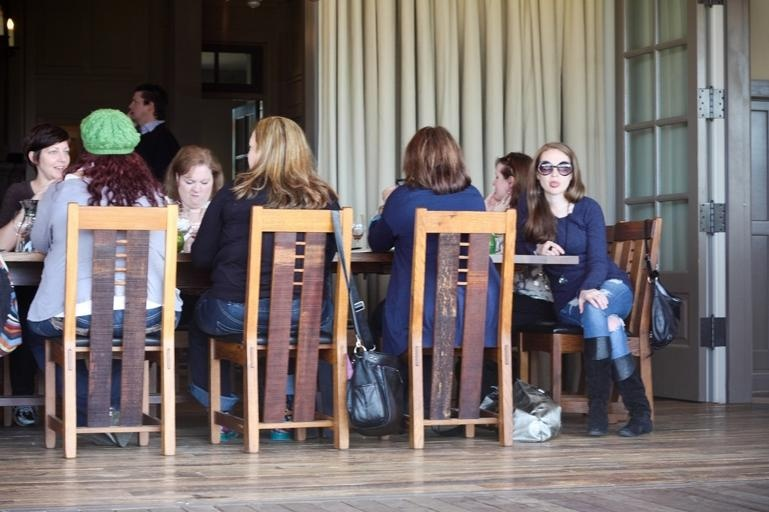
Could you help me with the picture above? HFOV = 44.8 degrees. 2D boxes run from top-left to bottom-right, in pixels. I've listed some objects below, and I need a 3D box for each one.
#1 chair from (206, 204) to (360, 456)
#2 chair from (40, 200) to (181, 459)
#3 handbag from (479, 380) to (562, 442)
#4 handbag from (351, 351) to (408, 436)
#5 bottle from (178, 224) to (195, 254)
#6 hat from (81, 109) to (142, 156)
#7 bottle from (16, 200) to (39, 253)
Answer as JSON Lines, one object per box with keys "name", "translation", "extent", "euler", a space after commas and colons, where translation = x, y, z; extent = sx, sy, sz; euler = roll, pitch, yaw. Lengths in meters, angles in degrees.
{"name": "chair", "translation": [-0.515, 0.359, 4.660], "extent": [0.706, 1.203, 0.388], "euler": [0, 3, -7]}
{"name": "chair", "translation": [-1.320, 0.354, 4.575], "extent": [0.626, 1.204, 0.492], "euler": [0, 3, -20]}
{"name": "handbag", "translation": [0.736, 0.810, 4.928], "extent": [0.322, 0.119, 0.326], "euler": [-1, 17, -32]}
{"name": "handbag", "translation": [-0.038, 0.670, 4.581], "extent": [0.276, 0.441, 0.145], "euler": [0, 2, -3]}
{"name": "bottle", "translation": [-1.020, -0.088, 4.869], "extent": [0.051, 0.138, 0.102], "euler": [6, -16, 0]}
{"name": "hat", "translation": [-1.347, -0.626, 4.742], "extent": [0.267, 0.195, 0.339], "euler": [1, 15, 7]}
{"name": "bottle", "translation": [-1.819, -0.165, 4.792], "extent": [0.111, 0.253, 0.101], "euler": [6, 10, -1]}
